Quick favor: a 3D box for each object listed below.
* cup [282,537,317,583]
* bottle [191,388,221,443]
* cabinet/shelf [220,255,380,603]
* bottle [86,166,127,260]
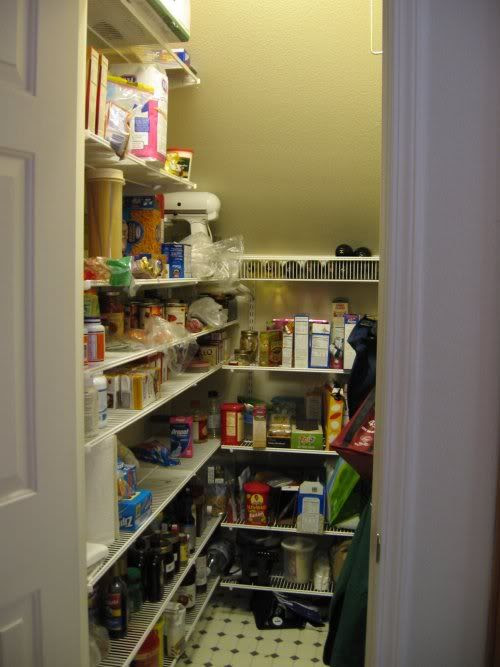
[{"bbox_3d":[0.239,1.133,2.905,0.174,0.187,0.183,1,1,0],"label":"cup"},{"bbox_3d":[-0.219,0.439,2.959,0.200,0.348,0.203,0,1,0],"label":"bottle"},{"bbox_3d":[0.292,0.076,2.996,0.751,0.989,0.498,0,6,15],"label":"cabinet/shelf"},{"bbox_3d":[-0.419,-0.344,1.627,0.109,0.250,0.066,-3,6,-15],"label":"bottle"}]
